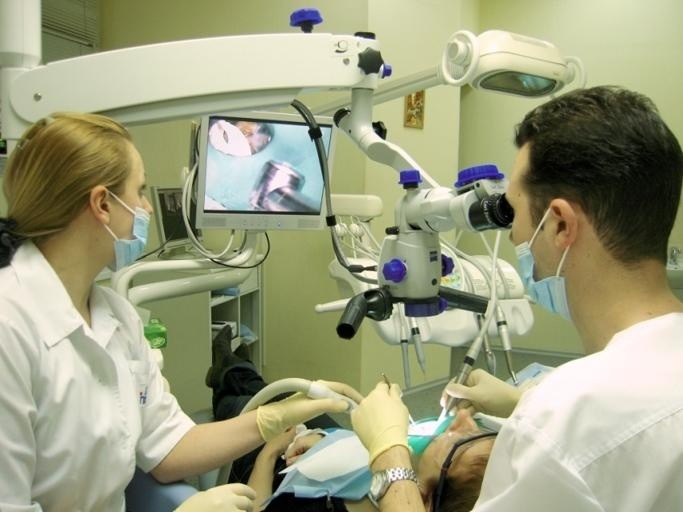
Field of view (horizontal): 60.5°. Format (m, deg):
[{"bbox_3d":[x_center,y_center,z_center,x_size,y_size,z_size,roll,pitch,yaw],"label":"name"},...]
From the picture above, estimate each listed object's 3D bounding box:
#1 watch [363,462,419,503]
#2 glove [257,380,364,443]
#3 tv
[{"bbox_3d":[0.126,0.551,1.478,0.111,0.077,0.111,12,-43,-27],"label":"watch"},{"bbox_3d":[-0.054,0.480,1.847,0.250,0.078,0.190,29,-8,-31],"label":"glove"},{"bbox_3d":[-0.307,-0.328,2.166,0.444,0.428,0.035,-1,1,-20],"label":"tv"}]
